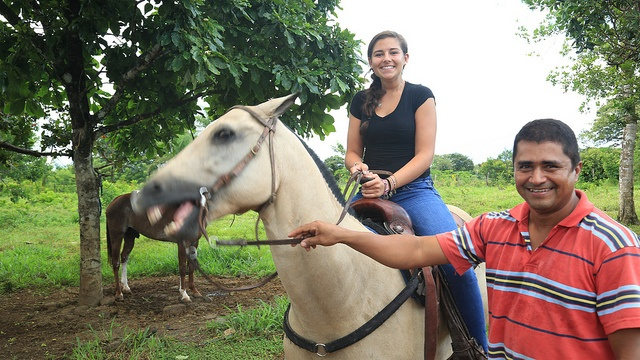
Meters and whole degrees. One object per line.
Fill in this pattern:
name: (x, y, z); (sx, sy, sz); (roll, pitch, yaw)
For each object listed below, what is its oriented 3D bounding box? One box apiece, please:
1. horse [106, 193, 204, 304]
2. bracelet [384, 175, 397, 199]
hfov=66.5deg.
horse: (-3.630, 1.442, 11.208); (2.997, 2.643, 0.759); (0, 6, 11)
bracelet: (1.088, 0.112, 7.529); (0.144, 0.323, 0.233); (2, 8, -13)
